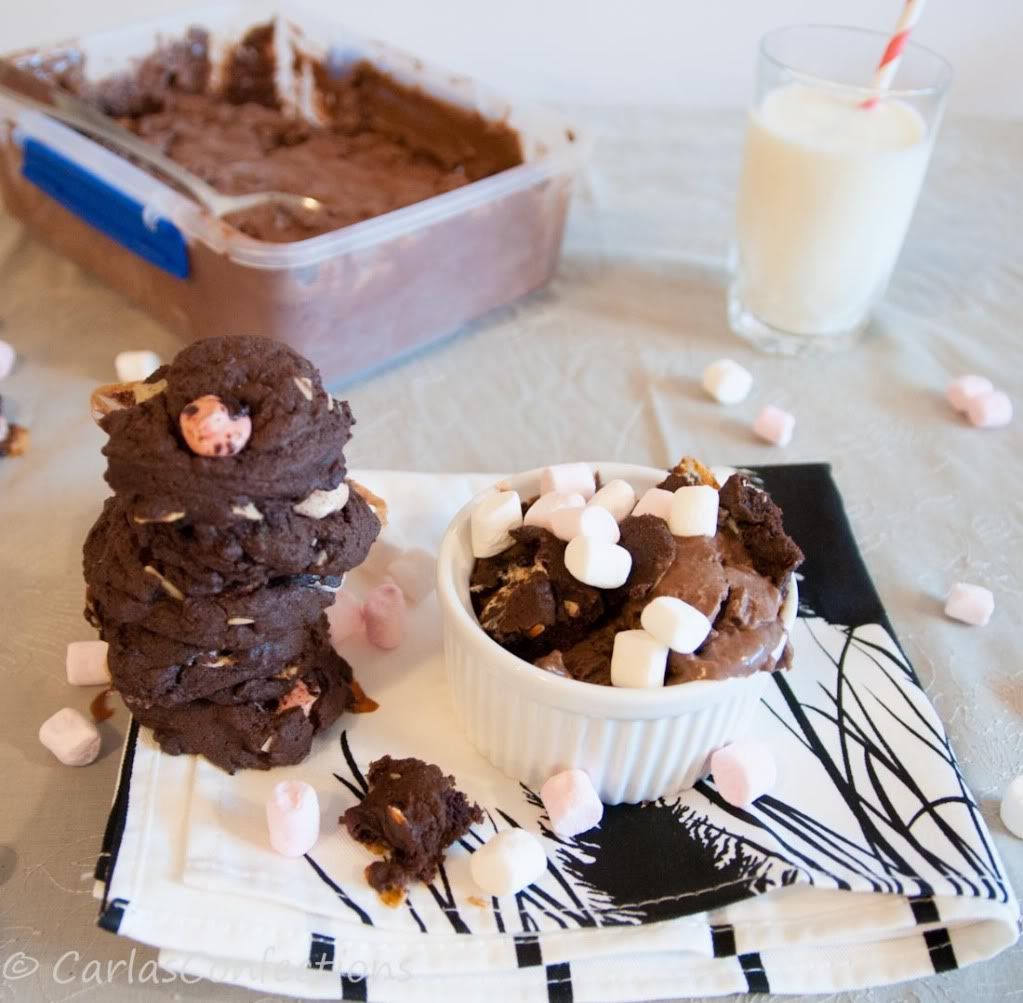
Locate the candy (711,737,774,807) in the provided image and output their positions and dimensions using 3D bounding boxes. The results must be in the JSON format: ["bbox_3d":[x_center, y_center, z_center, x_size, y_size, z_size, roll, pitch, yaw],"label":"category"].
[{"bbox_3d":[0.212,0.247,1.099,0.051,0.049,0.040,49,39,15],"label":"candy"}]

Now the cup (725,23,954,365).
[{"bbox_3d":[0.436,-0.433,1.754,0.324,0.453,0.252,-8,32,-13],"label":"cup"}]

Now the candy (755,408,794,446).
[{"bbox_3d":[0.360,-0.099,1.641,0.034,0.034,0.046,55,31,-13],"label":"candy"}]

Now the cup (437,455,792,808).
[{"bbox_3d":[0.089,0.109,1.181,0.329,0.247,0.251,4,30,1],"label":"cup"}]

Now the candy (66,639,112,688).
[{"bbox_3d":[-0.432,0.165,1.226,0.057,0.024,0.047,1,77,-3],"label":"candy"}]

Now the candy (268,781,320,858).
[{"bbox_3d":[-0.190,0.274,1.048,0.066,0.062,0.059,1,27,-3],"label":"candy"}]

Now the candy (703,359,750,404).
[{"bbox_3d":[0.308,-0.168,1.715,0.050,0.043,0.054,-22,28,1],"label":"candy"}]

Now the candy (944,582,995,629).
[{"bbox_3d":[0.527,0.116,1.380,0.054,0.046,0.036,13,14,26],"label":"candy"}]

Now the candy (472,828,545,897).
[{"bbox_3d":[-0.002,0.313,1.040,0.047,0.041,0.037,-17,81,-52],"label":"candy"}]

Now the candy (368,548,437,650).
[{"bbox_3d":[-0.118,0.096,1.264,0.088,0.084,0.097,-16,29,-28],"label":"candy"}]

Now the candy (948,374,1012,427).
[{"bbox_3d":[0.648,-0.140,1.690,0.061,0.037,0.085,-4,37,-20],"label":"candy"}]

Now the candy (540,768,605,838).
[{"bbox_3d":[0.062,0.272,1.095,0.060,0.065,0.057,-8,56,-9],"label":"candy"}]
